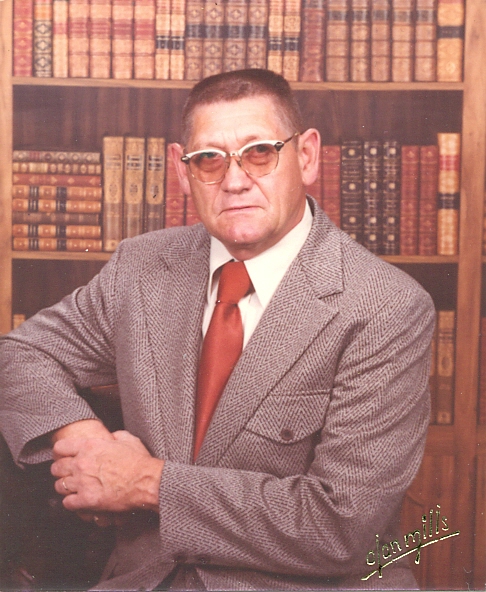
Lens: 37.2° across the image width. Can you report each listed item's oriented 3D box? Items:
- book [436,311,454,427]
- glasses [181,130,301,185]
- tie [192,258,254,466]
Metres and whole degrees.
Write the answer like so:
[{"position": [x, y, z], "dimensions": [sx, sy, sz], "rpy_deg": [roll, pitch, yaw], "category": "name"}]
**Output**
[{"position": [0.507, 0.180, 1.815], "dimensions": [0.048, 0.286, 0.010], "rpy_deg": [0, -1, -2], "category": "book"}, {"position": [-0.019, -0.307, 1.653], "dimensions": [0.214, 0.094, 0.035], "rpy_deg": [0, -1, 4], "category": "glasses"}, {"position": [-0.039, 0.153, 1.702], "dimensions": [0.107, 0.462, 0.078], "rpy_deg": [17, -18, 0], "category": "tie"}]
